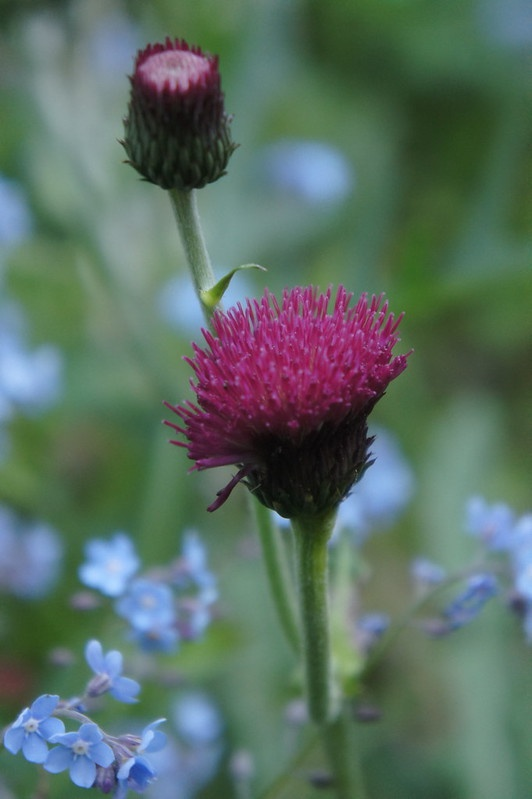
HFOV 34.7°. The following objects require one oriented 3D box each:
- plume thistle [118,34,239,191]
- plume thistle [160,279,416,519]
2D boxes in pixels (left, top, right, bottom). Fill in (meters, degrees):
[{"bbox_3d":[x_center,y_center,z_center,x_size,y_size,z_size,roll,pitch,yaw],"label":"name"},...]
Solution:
[{"bbox_3d":[-0.051,-0.159,0.478,0.065,0.083,0.044,-10,18,-19],"label":"plume thistle"},{"bbox_3d":[0.013,0.006,0.451,0.118,0.123,0.120,0,17,13],"label":"plume thistle"}]
